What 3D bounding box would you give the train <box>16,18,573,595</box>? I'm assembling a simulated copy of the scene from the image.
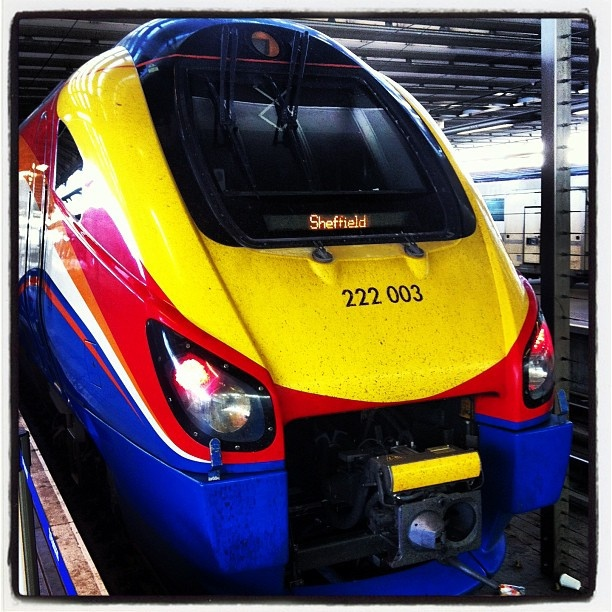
[{"bbox_3d":[-0.407,-0.089,4.208,1.184,1.620,4.476,-4,4,-13],"label":"train"}]
